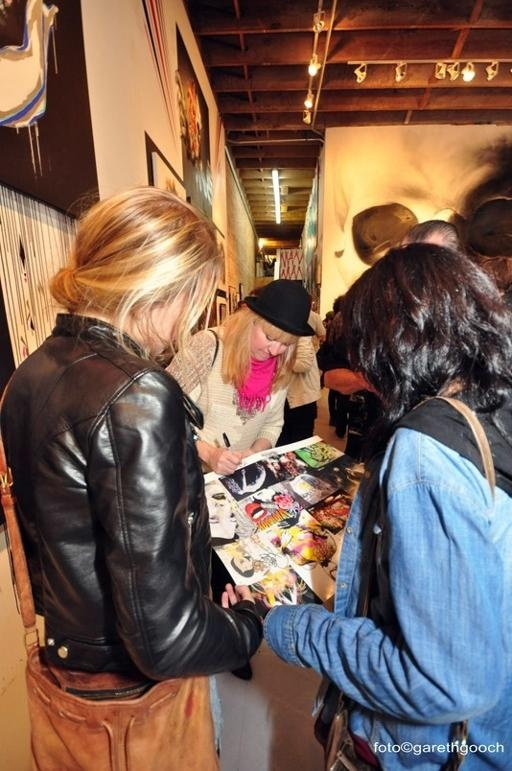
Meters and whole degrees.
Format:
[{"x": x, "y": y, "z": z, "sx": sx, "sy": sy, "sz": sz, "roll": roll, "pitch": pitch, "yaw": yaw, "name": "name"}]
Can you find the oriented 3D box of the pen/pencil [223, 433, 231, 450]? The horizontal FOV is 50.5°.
[{"x": -0.106, "y": 0.201, "z": 1.958, "sx": 0.023, "sy": 0.078, "sz": 0.019, "roll": 9, "pitch": 38, "yaw": 26, "name": "pen/pencil"}]
